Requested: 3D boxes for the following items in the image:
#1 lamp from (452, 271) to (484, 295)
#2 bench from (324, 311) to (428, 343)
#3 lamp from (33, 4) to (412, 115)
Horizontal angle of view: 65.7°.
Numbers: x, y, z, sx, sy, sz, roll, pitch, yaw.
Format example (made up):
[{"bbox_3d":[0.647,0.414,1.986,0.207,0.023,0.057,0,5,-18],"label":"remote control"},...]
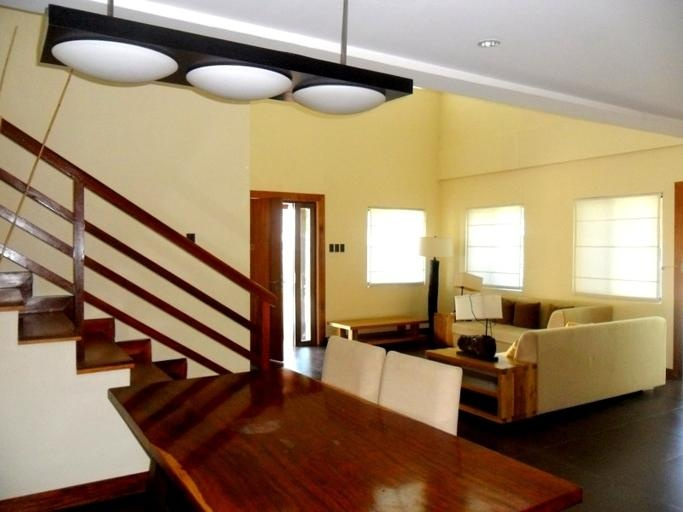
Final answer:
[{"bbox_3d":[1.833,0.384,7.922,0.591,0.348,0.402,-5,-3,-21],"label":"lamp"},{"bbox_3d":[0.586,1.184,8.540,1.544,0.377,0.750,0,5,-30],"label":"bench"},{"bbox_3d":[-0.539,-0.851,2.416,1.541,0.265,0.365,1,5,-21],"label":"lamp"}]
